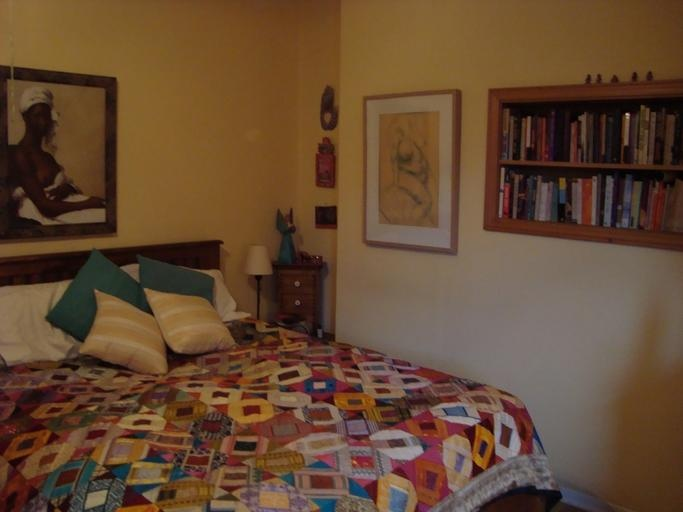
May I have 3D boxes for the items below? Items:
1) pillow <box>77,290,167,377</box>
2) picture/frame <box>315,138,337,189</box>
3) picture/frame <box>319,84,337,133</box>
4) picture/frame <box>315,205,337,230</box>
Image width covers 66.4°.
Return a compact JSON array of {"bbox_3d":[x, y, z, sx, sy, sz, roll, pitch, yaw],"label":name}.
[{"bbox_3d":[-1.275,0.395,3.061,0.488,0.140,0.515,22,47,-6],"label":"pillow"},{"bbox_3d":[-0.128,-0.815,4.589,0.189,0.445,0.073,4,14,14],"label":"picture/frame"},{"bbox_3d":[-0.099,-1.284,4.523,0.188,0.383,0.051,11,17,36],"label":"picture/frame"},{"bbox_3d":[-0.127,-0.346,4.646,0.190,0.201,0.027,8,13,26],"label":"picture/frame"}]
